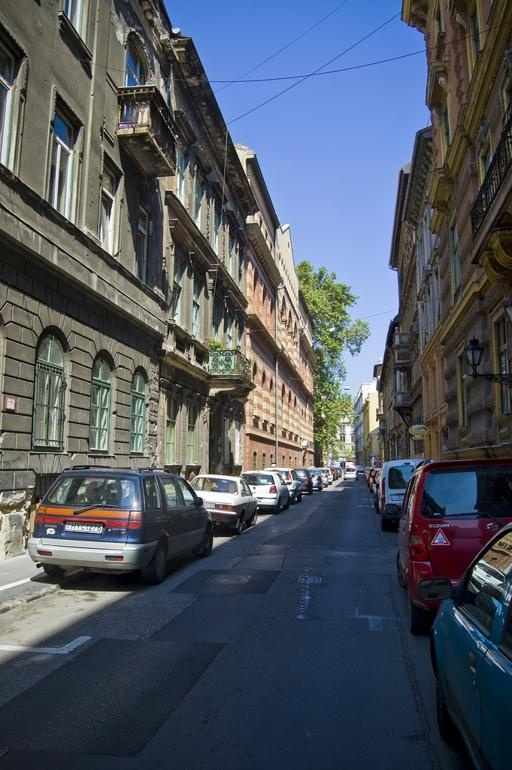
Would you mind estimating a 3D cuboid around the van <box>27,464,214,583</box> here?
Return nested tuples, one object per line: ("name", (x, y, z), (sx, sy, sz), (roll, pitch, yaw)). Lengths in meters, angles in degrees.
("van", (-1.796, 1.915, 8.687), (1.336, 1.424, 2.831), (-1, -5, 14))

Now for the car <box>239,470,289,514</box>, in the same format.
("car", (0.532, 4.341, 22.988), (1.100, 1.378, 2.662), (-1, -1, 12))

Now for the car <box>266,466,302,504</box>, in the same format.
("car", (1.596, 5.220, 28.805), (1.221, 1.498, 2.502), (-1, 0, 10))
